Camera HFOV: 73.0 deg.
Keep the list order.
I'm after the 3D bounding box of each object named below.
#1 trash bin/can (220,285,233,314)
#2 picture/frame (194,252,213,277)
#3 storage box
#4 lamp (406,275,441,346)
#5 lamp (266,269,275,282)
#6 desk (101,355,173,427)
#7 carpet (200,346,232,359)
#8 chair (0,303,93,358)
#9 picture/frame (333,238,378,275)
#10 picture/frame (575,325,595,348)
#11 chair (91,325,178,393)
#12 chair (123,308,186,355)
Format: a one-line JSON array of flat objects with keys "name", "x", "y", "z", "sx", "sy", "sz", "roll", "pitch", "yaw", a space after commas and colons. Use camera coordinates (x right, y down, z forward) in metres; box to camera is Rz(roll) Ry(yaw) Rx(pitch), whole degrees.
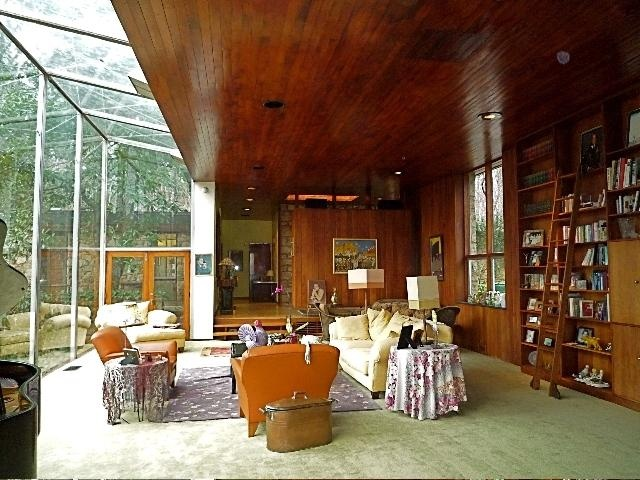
[{"name": "trash bin/can", "x": -2.518, "y": 1.589, "z": 11.630, "sx": 0.303, "sy": 0.718, "sz": 0.279, "roll": 0, "pitch": -1, "yaw": -5}, {"name": "picture/frame", "x": -2.807, "y": 0.608, "z": 10.374, "sx": 0.560, "sy": 0.660, "sz": 0.093, "roll": -2, "pitch": -8, "yaw": -3}, {"name": "storage box", "x": -0.216, "y": 1.839, "z": 4.386, "sx": 0.814, "sy": 0.537, "sz": 0.413, "roll": 1, "pitch": -2, "yaw": -26}, {"name": "lamp", "x": 1.466, "y": 0.941, "z": 6.194, "sx": 0.382, "sy": 0.935, "sz": 1.640, "roll": -1, "pitch": -1, "yaw": 12}, {"name": "lamp", "x": -1.903, "y": 1.341, "z": 16.538, "sx": 0.367, "sy": 0.387, "sz": 0.388, "roll": 0, "pitch": -4, "yaw": -5}, {"name": "desk", "x": -2.136, "y": 1.869, "z": 5.303, "sx": 0.548, "sy": 0.460, "sz": 0.544, "roll": -13, "pitch": -27, "yaw": -26}, {"name": "carpet", "x": -2.163, "y": 2.284, "z": 8.915, "sx": 0.570, "sy": 0.050, "sz": 1.201, "roll": 0, "pitch": -1, "yaw": -14}, {"name": "chair", "x": -4.432, "y": 1.396, "z": 6.840, "sx": 0.834, "sy": 0.529, "sz": 1.045, "roll": -7, "pitch": -10, "yaw": 29}, {"name": "picture/frame", "x": 0.809, "y": 0.395, "z": 10.604, "sx": 0.953, "sy": 0.673, "sz": 0.037, "roll": 1, "pitch": -6, "yaw": -10}, {"name": "picture/frame", "x": 3.813, "y": 1.383, "z": 6.250, "sx": 0.216, "sy": 0.252, "sz": 0.269, "roll": 5, "pitch": -4, "yaw": -9}, {"name": "chair", "x": -2.747, "y": 1.520, "z": 6.262, "sx": 1.245, "sy": 1.053, "sz": 0.969, "roll": -1, "pitch": -1, "yaw": -13}, {"name": "chair", "x": -3.454, "y": 1.867, "z": 9.159, "sx": 1.017, "sy": 0.605, "sz": 0.951, "roll": 4, "pitch": -12, "yaw": -27}]
